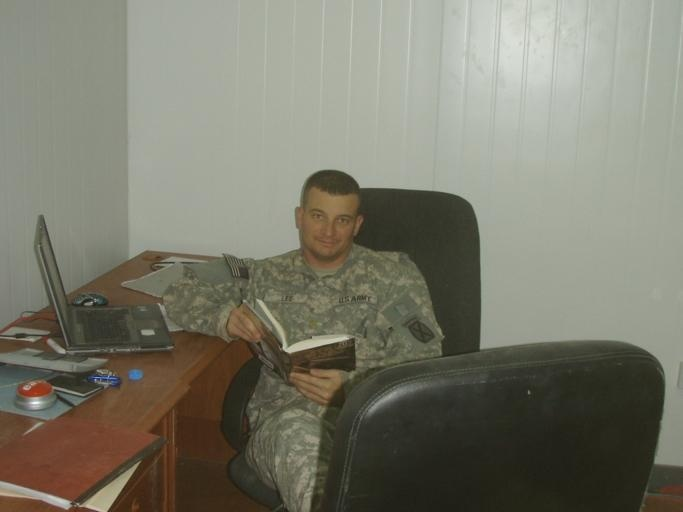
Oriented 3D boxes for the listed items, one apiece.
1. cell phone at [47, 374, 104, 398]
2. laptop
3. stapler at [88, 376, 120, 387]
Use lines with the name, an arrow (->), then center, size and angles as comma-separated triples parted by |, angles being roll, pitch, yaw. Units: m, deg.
cell phone -> -0.728, 0.352, 1.670 | 0.145, 0.028, 0.071 | 4, 15, 18
laptop -> -0.703, -0.016, 1.943 | 0.407, 0.381, 0.502 | -1, 11, -19
stapler -> -0.661, 0.344, 1.705 | 0.051, 0.020, 0.041 | 4, 2, -16
